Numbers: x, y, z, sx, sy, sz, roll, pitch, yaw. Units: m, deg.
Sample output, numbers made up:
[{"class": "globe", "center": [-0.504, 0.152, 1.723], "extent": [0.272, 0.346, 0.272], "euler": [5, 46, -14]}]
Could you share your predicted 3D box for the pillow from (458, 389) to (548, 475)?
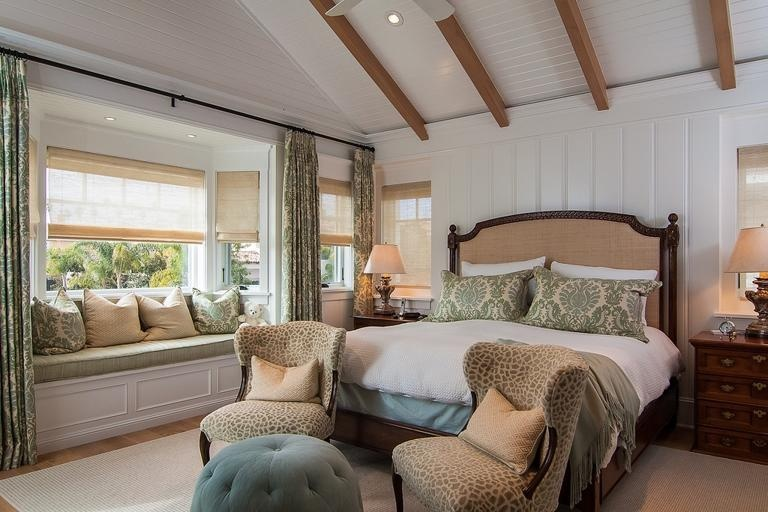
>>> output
[{"class": "pillow", "center": [0.786, 1.135, 3.096], "extent": [0.139, 0.396, 0.457], "euler": [38, -16, -37]}]

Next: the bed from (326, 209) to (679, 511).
[{"class": "bed", "center": [1.269, 0.476, 4.576], "extent": [2.775, 2.188, 2.697], "euler": [-2, -4, 39]}]

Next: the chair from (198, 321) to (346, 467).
[{"class": "chair", "center": [-0.866, 1.197, 3.877], "extent": [1.130, 1.162, 1.110], "euler": [1, -1, -44]}]

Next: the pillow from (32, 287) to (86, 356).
[{"class": "pillow", "center": [-3.210, 0.713, 4.752], "extent": [0.392, 0.638, 0.610], "euler": [5, 4, -13]}]

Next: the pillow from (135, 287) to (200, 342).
[{"class": "pillow", "center": [-2.484, 0.703, 5.511], "extent": [0.630, 0.609, 0.369], "euler": [-4, 4, -44]}]

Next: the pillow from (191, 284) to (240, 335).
[{"class": "pillow", "center": [-2.030, 0.672, 5.805], "extent": [0.572, 0.581, 0.314], "euler": [-2, 6, -23]}]

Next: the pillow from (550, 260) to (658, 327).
[{"class": "pillow", "center": [2.195, 0.443, 5.012], "extent": [0.166, 0.707, 1.084], "euler": [18, -8, -33]}]

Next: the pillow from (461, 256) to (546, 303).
[{"class": "pillow", "center": [1.273, 0.372, 5.590], "extent": [0.289, 0.679, 1.110], "euler": [21, -15, -39]}]

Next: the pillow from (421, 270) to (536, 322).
[{"class": "pillow", "center": [1.026, 0.454, 5.128], "extent": [1.187, 0.501, 0.550], "euler": [-4, 17, 28]}]

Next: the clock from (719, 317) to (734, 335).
[{"class": "clock", "center": [3.214, 0.662, 4.504], "extent": [0.131, 0.177, 0.053], "euler": [-3, -4, 18]}]

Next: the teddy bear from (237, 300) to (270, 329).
[{"class": "teddy bear", "center": [-1.543, 0.707, 5.803], "extent": [0.424, 0.395, 0.323], "euler": [5, -15, -24]}]

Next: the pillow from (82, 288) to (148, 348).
[{"class": "pillow", "center": [-2.881, 0.680, 5.133], "extent": [0.350, 0.655, 0.655], "euler": [-14, -16, 43]}]
